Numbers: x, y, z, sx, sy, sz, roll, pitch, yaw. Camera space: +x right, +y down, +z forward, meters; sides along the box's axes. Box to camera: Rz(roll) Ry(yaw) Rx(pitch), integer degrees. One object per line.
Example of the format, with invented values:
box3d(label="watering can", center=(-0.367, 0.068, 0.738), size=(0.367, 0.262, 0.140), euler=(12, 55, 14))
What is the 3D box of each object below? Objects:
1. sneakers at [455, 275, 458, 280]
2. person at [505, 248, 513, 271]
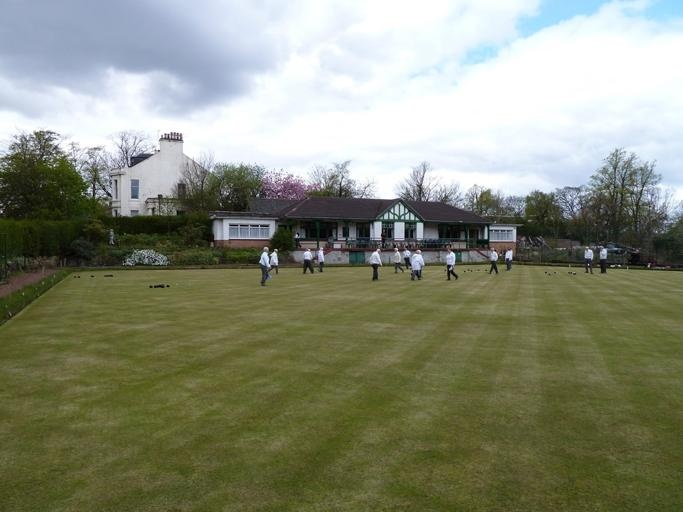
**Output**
box3d(label="sneakers", center=(5.528, 1.042, 24.911), size=(0.145, 0.242, 0.165), euler=(3, -9, -27))
box3d(label="person", center=(10.690, 0.219, 33.047), size=(0.300, 1.350, 1.706), euler=(1, 3, 16))
